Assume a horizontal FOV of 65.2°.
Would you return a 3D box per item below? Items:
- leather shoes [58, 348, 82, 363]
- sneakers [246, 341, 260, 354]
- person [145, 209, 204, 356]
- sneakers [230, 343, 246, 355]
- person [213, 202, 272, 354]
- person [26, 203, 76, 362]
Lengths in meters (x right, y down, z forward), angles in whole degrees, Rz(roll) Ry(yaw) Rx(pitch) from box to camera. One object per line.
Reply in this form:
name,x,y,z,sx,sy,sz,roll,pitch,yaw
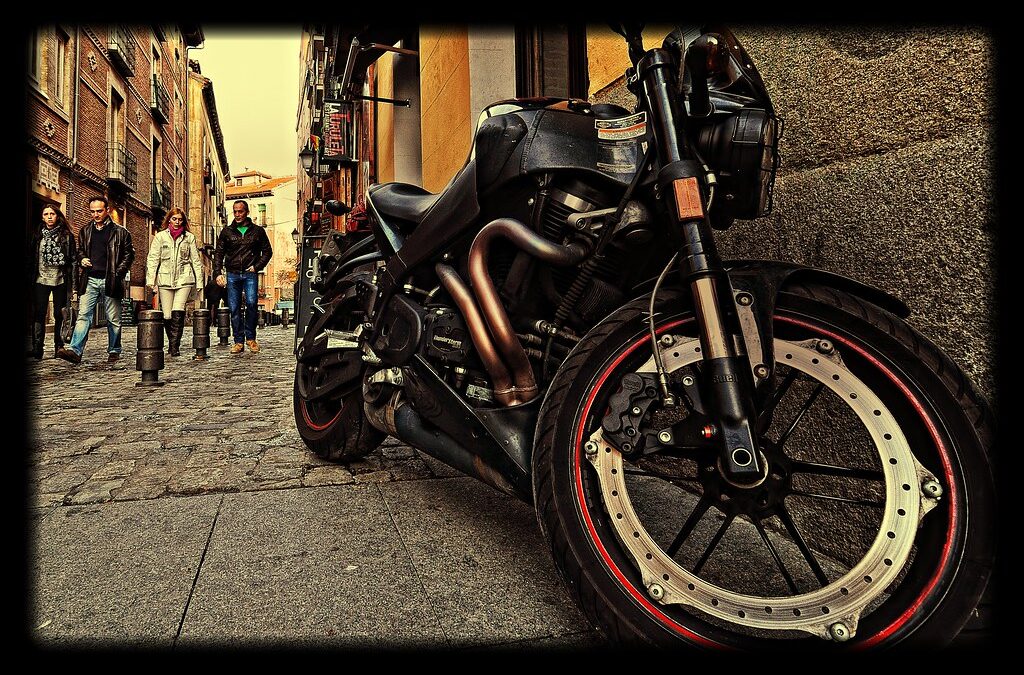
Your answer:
leather shoes,-4.909,0.215,8.848,0.107,0.133,0.297,-6,-24,-3
sneakers,-3.724,0.148,11.574,0.160,0.186,0.474,0,5,-30
person,-4.352,-0.670,10.360,0.651,1.926,1.084,-5,12,-22
sneakers,-3.737,0.169,10.870,0.105,0.125,0.298,4,-5,-12
person,-3.689,-0.782,11.030,0.744,2.147,0.999,-5,12,-18
person,-5.372,-0.613,9.308,0.530,1.794,0.969,-5,12,-21
